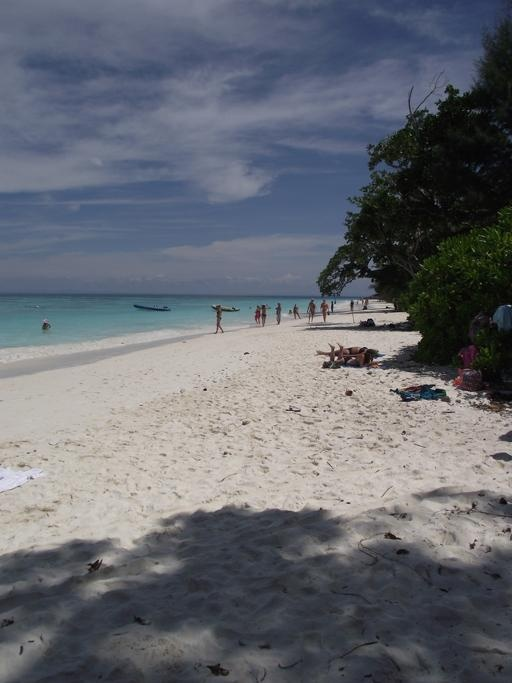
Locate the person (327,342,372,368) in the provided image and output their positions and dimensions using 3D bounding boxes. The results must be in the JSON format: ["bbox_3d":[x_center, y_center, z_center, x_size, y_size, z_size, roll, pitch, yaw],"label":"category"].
[{"bbox_3d":[2.547,0.375,14.698,0.980,0.316,0.689,-2,12,-2],"label":"person"}]
